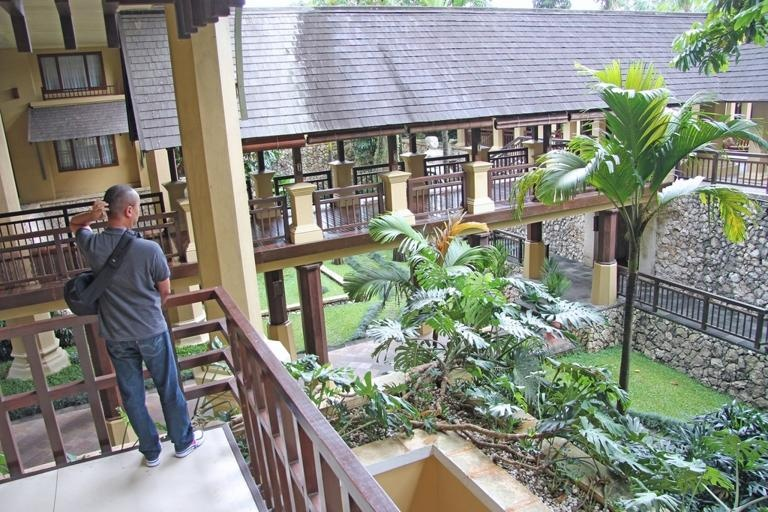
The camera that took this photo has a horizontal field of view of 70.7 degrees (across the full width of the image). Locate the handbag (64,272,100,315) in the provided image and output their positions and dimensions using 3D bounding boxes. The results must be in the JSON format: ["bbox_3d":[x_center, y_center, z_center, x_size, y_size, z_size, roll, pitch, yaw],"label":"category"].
[{"bbox_3d":[-2.728,0.312,4.818,0.238,0.275,0.283,-3,21,35],"label":"handbag"}]

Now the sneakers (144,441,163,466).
[{"bbox_3d":[-2.107,1.789,4.937,0.085,0.095,0.244,-1,17,-5],"label":"sneakers"}]

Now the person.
[{"bbox_3d":[-2.230,0.592,4.911,0.647,2.439,0.826,-14,17,-28],"label":"person"}]

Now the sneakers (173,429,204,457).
[{"bbox_3d":[-1.785,1.729,4.990,0.109,0.116,0.297,16,31,27],"label":"sneakers"}]
